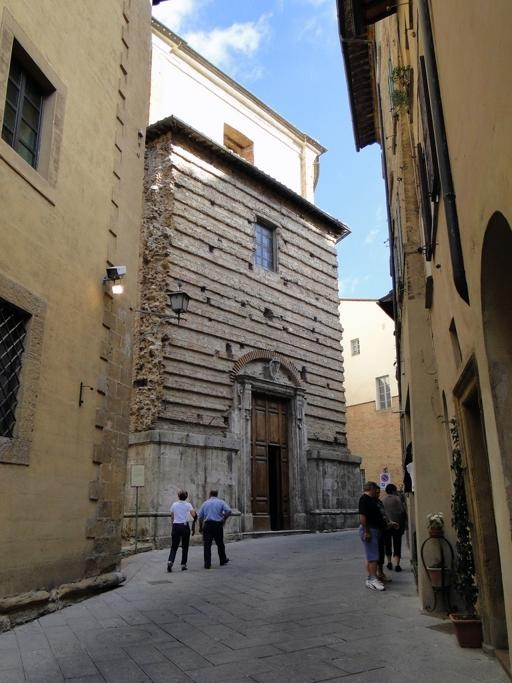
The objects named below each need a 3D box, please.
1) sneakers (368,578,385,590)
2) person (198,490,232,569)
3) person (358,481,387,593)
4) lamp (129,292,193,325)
[{"bbox_3d":[1.643,3.363,6.104,0.095,0.135,0.272,6,-19,-18],"label":"sneakers"},{"bbox_3d":[-0.810,3.607,8.627,0.587,1.331,1.537,1,-17,-6],"label":"person"},{"bbox_3d":[1.696,2.809,6.467,0.356,1.433,0.831,-4,-16,15],"label":"person"},{"bbox_3d":[-2.434,-0.960,12.197,1.203,1.035,0.900,-5,-3,6],"label":"lamp"}]
